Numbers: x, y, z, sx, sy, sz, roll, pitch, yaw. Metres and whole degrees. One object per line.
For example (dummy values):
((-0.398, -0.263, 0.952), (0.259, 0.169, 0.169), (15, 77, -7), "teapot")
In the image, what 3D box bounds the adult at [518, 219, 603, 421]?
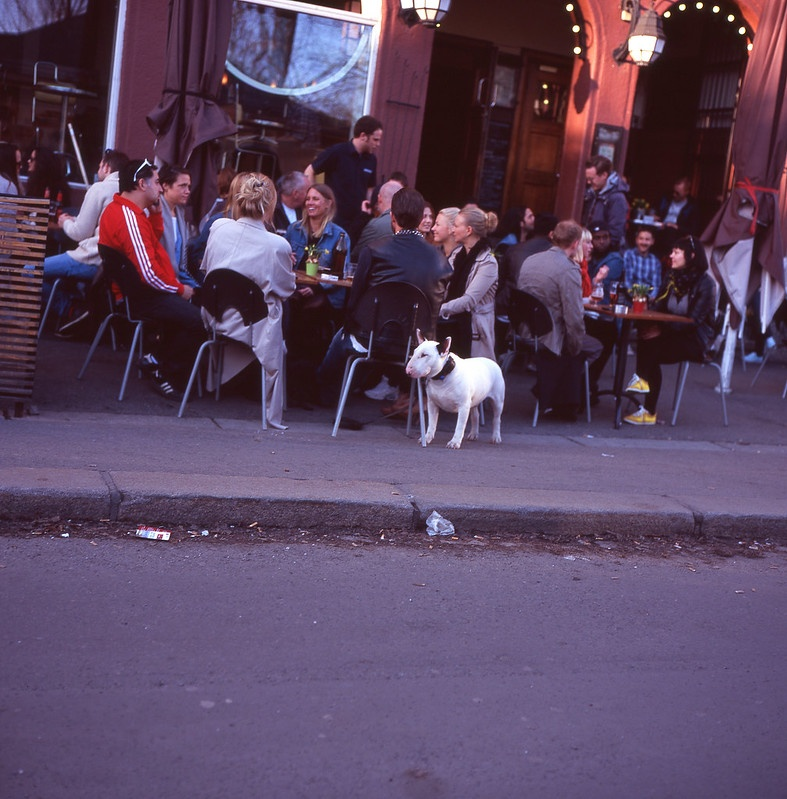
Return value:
((1.521, -0.718, 7.720), (0.570, 1.881, 1.061), (9, 10, 27), "adult")

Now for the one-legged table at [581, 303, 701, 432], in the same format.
((2.208, -0.511, 8.124), (1.045, 1.306, 1.269), (-5, 14, -25), "one-legged table")

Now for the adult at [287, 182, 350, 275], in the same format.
((-0.755, -1.510, 7.621), (0.648, 1.000, 0.481), (7, -4, -9), "adult")

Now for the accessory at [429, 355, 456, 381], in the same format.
((0.369, -0.215, 5.991), (0.067, 0.174, 0.126), (29, -29, -31), "accessory")

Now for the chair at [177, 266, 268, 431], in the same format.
((-1.359, -0.434, 6.365), (0.616, 1.153, 0.965), (-1, 12, -34), "chair")

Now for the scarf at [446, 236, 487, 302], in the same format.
((0.677, -1.077, 7.259), (0.217, 0.531, 0.364), (28, -9, -24), "scarf")

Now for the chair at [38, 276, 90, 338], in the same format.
((-3.287, -0.937, 8.264), (0.342, 0.447, 0.528), (13, -34, -21), "chair")

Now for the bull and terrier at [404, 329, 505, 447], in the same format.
((0.517, -0.074, 6.384), (0.342, 0.934, 1.080), (3, 3, 41), "bull and terrier")

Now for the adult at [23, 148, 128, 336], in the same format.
((-3.011, -1.402, 8.031), (0.709, 1.597, 0.645), (3, -16, 25), "adult")

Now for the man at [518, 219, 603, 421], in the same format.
((1.516, -0.717, 7.709), (0.569, 1.881, 1.036), (9, 10, 28), "man")

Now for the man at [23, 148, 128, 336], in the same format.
((-3.015, -1.407, 8.004), (0.730, 1.636, 0.633), (8, -10, 18), "man")
